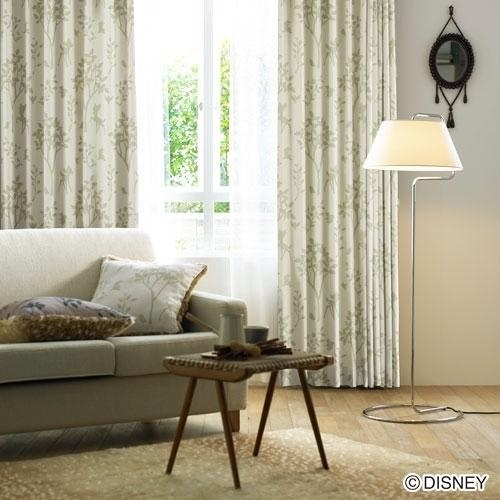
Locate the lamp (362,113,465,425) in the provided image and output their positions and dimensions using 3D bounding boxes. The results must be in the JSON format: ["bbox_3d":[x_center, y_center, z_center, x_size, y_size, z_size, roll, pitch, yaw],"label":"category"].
[{"bbox_3d":[0.865,-0.001,2.882,0.497,1.696,0.887,-1,-4,16],"label":"lamp"}]

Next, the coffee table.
[{"bbox_3d":[-0.038,0.471,1.866,0.480,0.427,0.543,-7,-10,41],"label":"coffee table"}]

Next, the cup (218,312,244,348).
[{"bbox_3d":[-0.058,0.266,1.768,0.110,0.098,0.080,-1,-3,9],"label":"cup"}]

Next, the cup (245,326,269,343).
[{"bbox_3d":[0.025,0.295,1.872,0.065,0.044,0.060,3,-5,0],"label":"cup"}]
